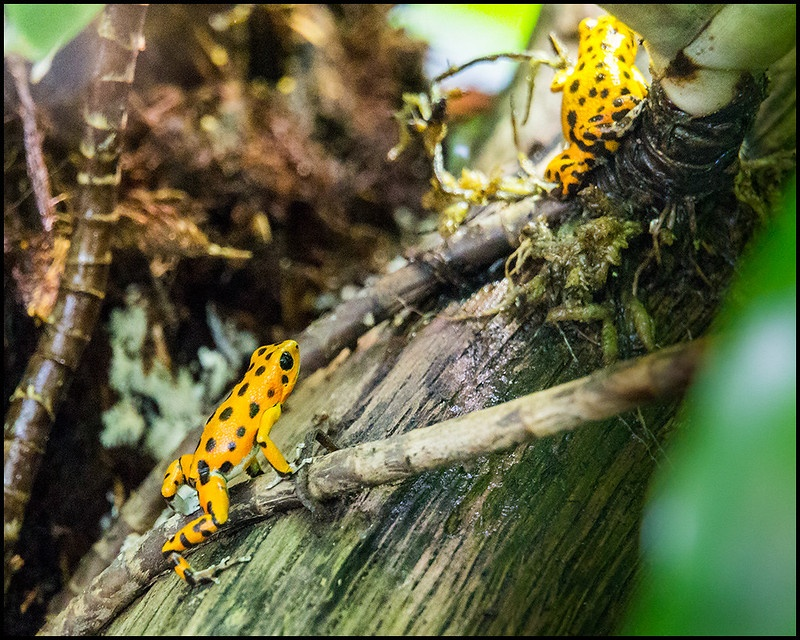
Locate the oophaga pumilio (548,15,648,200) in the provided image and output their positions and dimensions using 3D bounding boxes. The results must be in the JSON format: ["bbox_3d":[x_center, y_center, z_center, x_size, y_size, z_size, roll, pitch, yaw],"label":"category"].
[{"bbox_3d":[0.803,-0.860,3.352,0.223,0.829,0.679,0,3,-8],"label":"oophaga pumilio"}]
